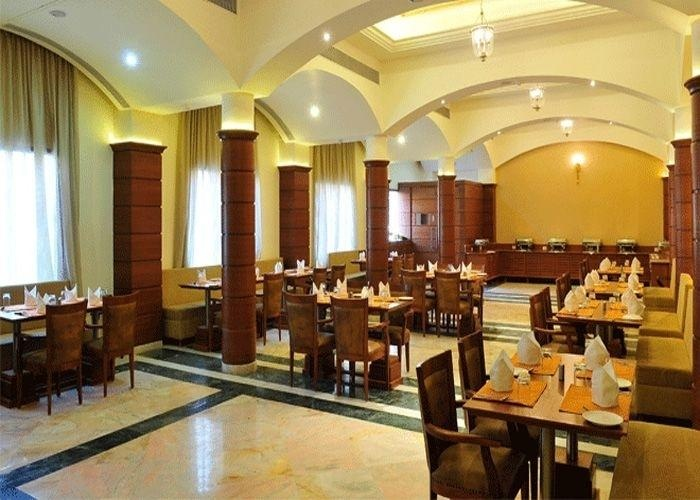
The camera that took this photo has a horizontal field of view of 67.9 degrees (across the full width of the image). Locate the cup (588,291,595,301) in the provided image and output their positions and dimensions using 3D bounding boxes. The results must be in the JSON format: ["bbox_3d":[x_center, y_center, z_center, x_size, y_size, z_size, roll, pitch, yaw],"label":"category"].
[{"bbox_3d":[3.864,0.720,8.293,0.114,0.226,0.125,1,1,0],"label":"cup"}]

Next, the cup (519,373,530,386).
[{"bbox_3d":[1.576,1.153,4.686,0.082,0.163,0.090,0,1,0],"label":"cup"}]

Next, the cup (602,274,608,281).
[{"bbox_3d":[5.263,0.555,10.734,0.131,0.146,0.131,0,-2,0],"label":"cup"}]

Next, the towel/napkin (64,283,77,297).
[{"bbox_3d":[-4.283,0.611,7.971,0.177,0.205,0.198,-2,-6,28],"label":"towel/napkin"}]

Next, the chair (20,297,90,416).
[{"bbox_3d":[-3.821,1.321,6.812,0.694,1.415,0.675,-10,14,-43],"label":"chair"}]

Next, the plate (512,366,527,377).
[{"bbox_3d":[1.616,1.163,5.012,0.124,0.018,0.144,-4,4,-34],"label":"plate"}]

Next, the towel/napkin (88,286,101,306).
[{"bbox_3d":[-3.872,0.691,7.879,0.206,0.321,0.284,4,-7,-45],"label":"towel/napkin"}]

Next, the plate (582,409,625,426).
[{"bbox_3d":[2.077,1.377,4.263,0.317,0.061,0.173,0,11,4],"label":"plate"}]

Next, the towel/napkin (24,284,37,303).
[{"bbox_3d":[-4.687,0.636,7.625,0.188,0.295,0.233,2,-4,-16],"label":"towel/napkin"}]
